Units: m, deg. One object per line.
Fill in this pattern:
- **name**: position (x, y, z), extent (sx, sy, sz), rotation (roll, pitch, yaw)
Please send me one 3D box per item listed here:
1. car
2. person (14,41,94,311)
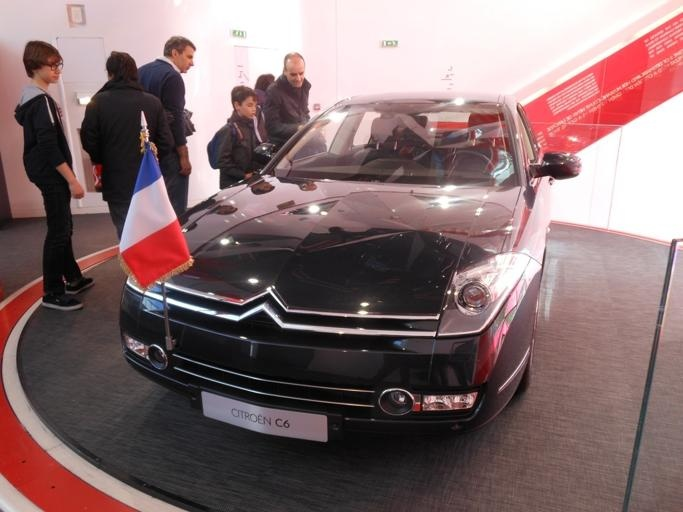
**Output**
- **car**: position (0.499, -0.304, 3.371), extent (2.064, 1.277, 3.794), rotation (4, 16, 24)
- **person**: position (-2.121, -0.573, 3.323), extent (0.366, 1.914, 0.541), rotation (-6, 18, -28)
